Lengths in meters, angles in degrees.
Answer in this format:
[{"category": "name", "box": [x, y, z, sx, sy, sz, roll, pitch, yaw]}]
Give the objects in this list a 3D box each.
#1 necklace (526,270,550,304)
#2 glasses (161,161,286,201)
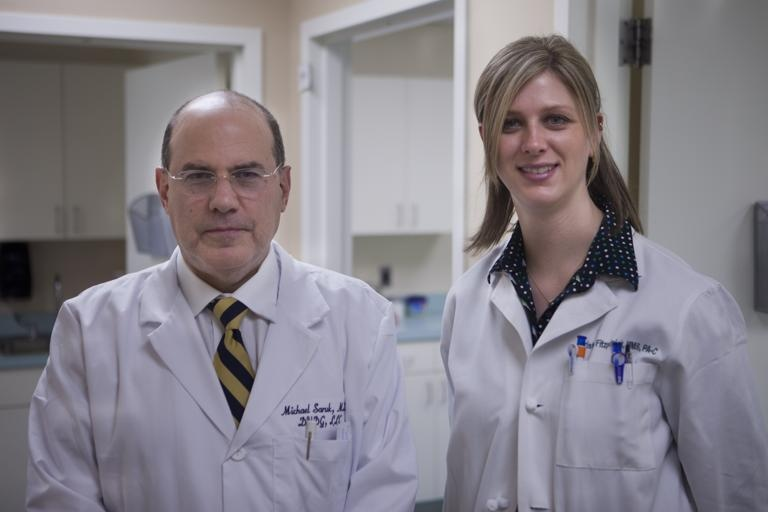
[{"category": "necklace", "box": [0.470, 0.097, 2.487, 0.016, 0.065, 0.052, -37, -14, 33]}, {"category": "glasses", "box": [-0.468, -0.215, 2.430, 0.323, 0.099, 0.109, -6, 5, -20]}]
